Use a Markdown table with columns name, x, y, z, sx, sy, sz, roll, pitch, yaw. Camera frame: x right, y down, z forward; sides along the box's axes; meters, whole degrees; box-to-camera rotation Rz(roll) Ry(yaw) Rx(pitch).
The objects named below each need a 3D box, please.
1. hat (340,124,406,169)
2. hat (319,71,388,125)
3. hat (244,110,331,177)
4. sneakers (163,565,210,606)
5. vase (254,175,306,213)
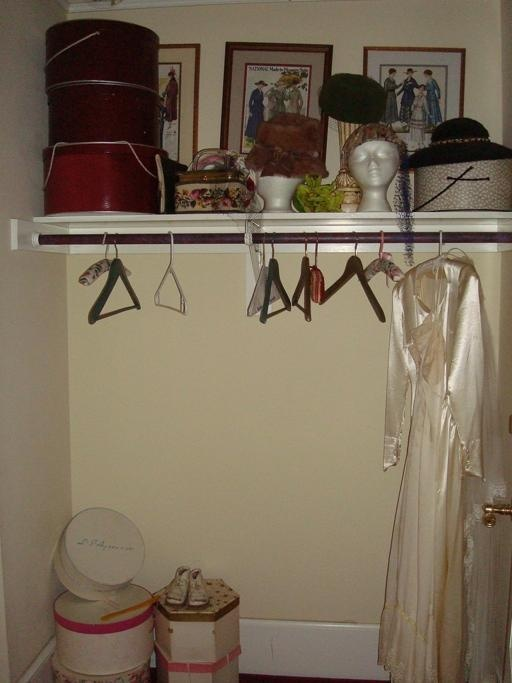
| name | x | y | z | sx | sy | sz | roll | pitch | yaw |
| --- | --- | --- | --- | --- | --- | --- | --- | --- | --- |
| hat | 0.336 | -0.524 | 2.080 | 0.125 | 0.070 | 0.151 | -1 | 8 | 30 |
| hat | 0.294 | -0.713 | 2.207 | 0.209 | 0.152 | 0.151 | 1 | 8 | -10 |
| hat | 0.087 | -0.547 | 2.099 | 0.229 | 0.181 | 0.064 | 2 | 8 | -2 |
| sneakers | -0.218 | 0.768 | 2.325 | 0.137 | 0.068 | 0.201 | 1 | 8 | -7 |
| vase | 0.056 | -0.416 | 2.099 | 0.115 | 0.085 | 0.110 | 5 | 15 | 10 |
